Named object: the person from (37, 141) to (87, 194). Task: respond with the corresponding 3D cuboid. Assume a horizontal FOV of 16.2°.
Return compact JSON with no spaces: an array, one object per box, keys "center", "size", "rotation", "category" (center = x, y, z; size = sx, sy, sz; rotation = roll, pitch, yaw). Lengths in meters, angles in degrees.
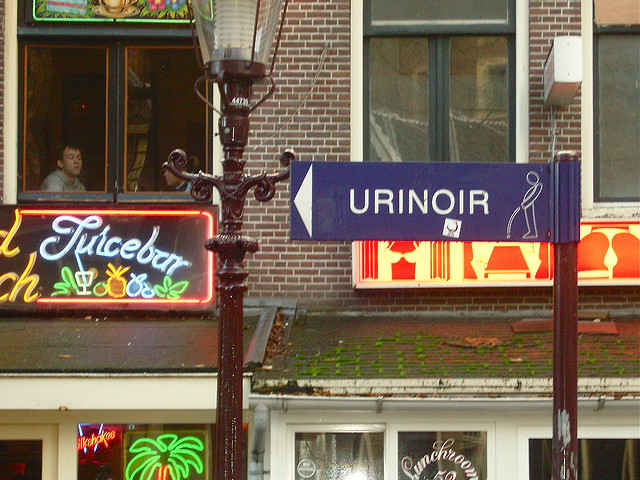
[{"center":[-3.025,-0.726,26.900],"size":[0.676,0.715,0.361],"rotation":[8,-6,-42],"category":"person"}]
